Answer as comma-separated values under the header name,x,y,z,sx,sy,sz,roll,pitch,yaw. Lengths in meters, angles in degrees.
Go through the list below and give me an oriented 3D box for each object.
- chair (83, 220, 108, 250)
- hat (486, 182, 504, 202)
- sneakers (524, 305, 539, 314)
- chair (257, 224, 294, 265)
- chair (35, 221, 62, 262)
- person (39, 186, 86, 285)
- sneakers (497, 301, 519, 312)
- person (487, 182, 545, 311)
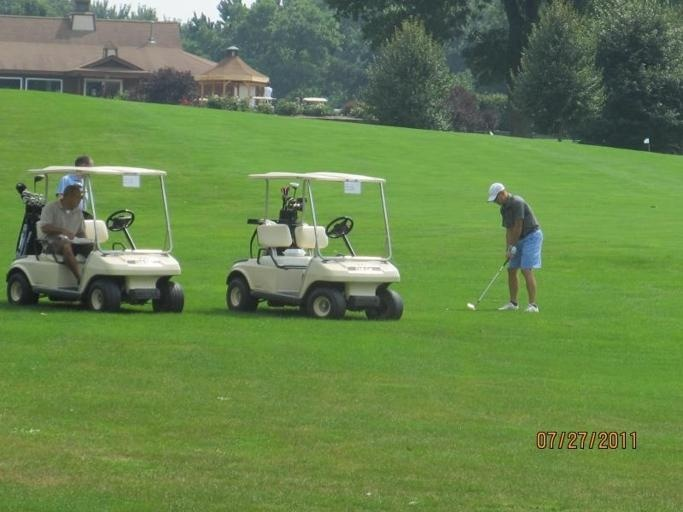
name,x,y,z,sx,sy,sz,roll,pitch,yaw
chair,-4.152,-0.397,21.264,0.402,0.388,0.568,1,1,30
hat,2.643,-1.079,21.530,0.226,0.320,0.392,2,11,4
sneakers,3.259,0.897,21.573,0.092,0.127,0.281,-4,-6,41
chair,-1.124,-0.227,21.469,0.608,0.740,0.593,-3,-9,-2
chair,-4.870,-0.248,21.139,0.618,0.712,0.537,1,3,45
person,-4.657,-0.395,21.124,0.748,1.605,0.675,-2,11,-12
sneakers,2.907,0.882,21.857,0.410,0.184,0.143,2,0,4
person,2.998,-0.139,21.598,0.868,2.176,0.466,3,11,14
